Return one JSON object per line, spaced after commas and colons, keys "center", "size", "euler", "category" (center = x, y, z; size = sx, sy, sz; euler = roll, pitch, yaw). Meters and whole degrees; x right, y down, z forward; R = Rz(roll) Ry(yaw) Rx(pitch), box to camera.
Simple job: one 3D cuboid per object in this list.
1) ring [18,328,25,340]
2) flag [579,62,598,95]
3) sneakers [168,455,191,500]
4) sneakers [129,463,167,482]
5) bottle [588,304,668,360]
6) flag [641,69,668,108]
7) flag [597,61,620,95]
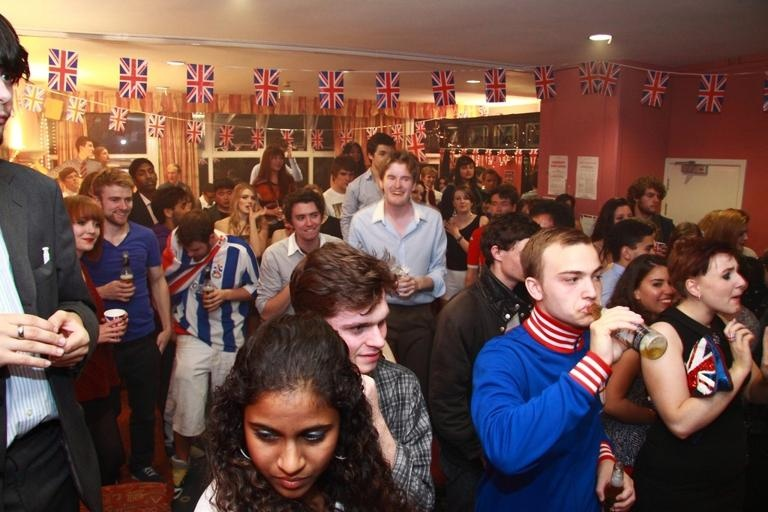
{"center": [-1.325, 0.285, 1.970], "size": [0.024, 0.036, 0.008], "euler": [0, 3, -17], "category": "ring"}
{"center": [2.713, -2.362, 7.170], "size": [0.221, 0.409, 0.421], "euler": [3, 8, 13], "category": "flag"}
{"center": [-1.496, 1.612, 3.958], "size": [0.092, 0.119, 0.275], "euler": [8, 8, -13], "category": "sneakers"}
{"center": [-1.716, 1.587, 3.965], "size": [0.302, 0.125, 0.104], "euler": [6, 1, 14], "category": "sneakers"}
{"center": [0.989, 0.317, 2.196], "size": [0.105, 0.108, 0.347], "euler": [-44, 40, -11], "category": "bottle"}
{"center": [3.442, -2.160, 6.849], "size": [0.265, 0.473, 0.488], "euler": [6, 9, 29], "category": "flag"}
{"center": [2.913, -2.338, 7.020], "size": [0.406, 0.571, 0.028], "euler": [-1, 7, -19], "category": "flag"}
